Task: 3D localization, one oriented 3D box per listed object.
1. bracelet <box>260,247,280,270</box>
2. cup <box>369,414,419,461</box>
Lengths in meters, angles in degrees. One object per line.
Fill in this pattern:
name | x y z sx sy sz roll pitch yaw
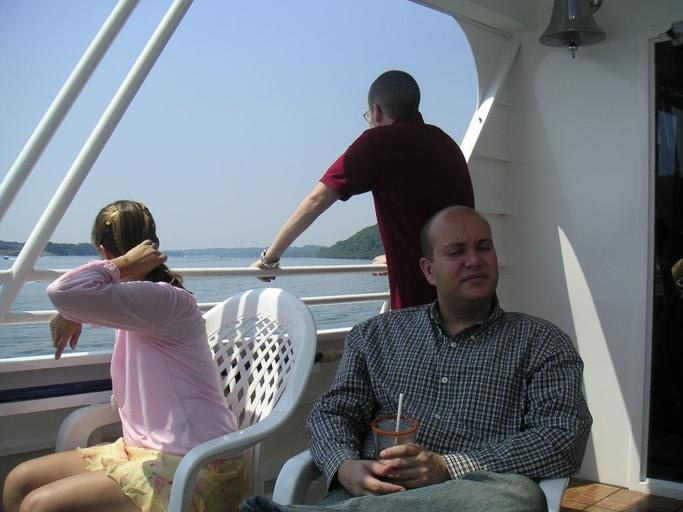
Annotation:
bracelet | -0.313 0.015 2.042 0.059 0.066 0.103 4 21 -9
cup | 0.118 0.422 1.119 0.092 0.110 0.098 1 -6 0
